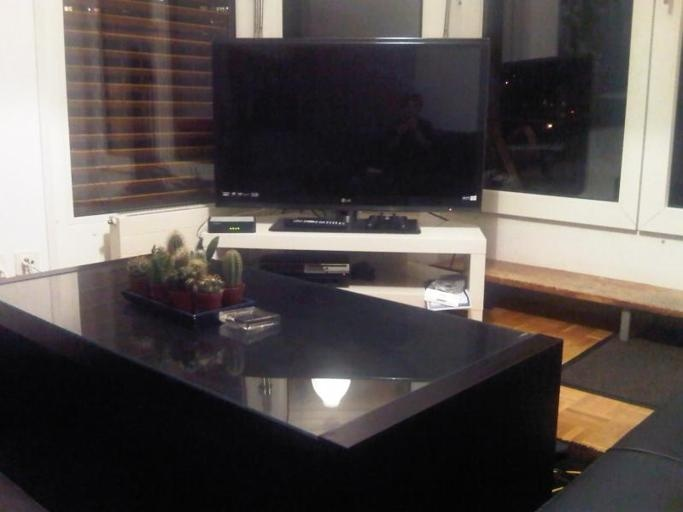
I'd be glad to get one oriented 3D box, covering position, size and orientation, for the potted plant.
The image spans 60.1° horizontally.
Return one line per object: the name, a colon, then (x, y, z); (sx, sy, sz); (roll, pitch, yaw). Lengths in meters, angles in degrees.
potted plant: (-0.481, 0.019, 1.825); (0.209, 0.151, 0.297); (-11, 14, -44)
